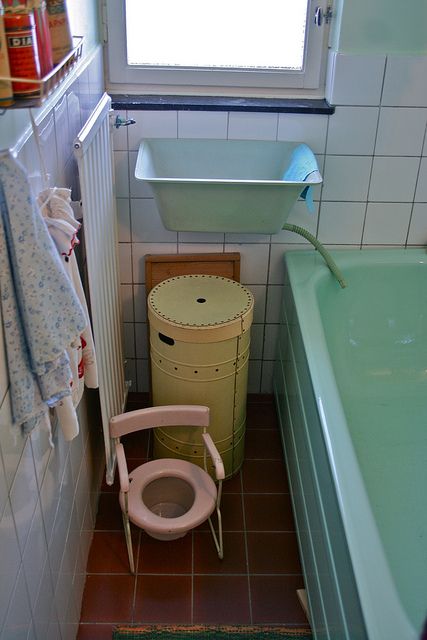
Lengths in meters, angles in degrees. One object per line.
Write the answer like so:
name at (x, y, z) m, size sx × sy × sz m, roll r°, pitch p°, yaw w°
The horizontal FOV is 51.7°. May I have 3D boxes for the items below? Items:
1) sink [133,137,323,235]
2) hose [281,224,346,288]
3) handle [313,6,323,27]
sink at (0.031, -0.464, 1.548) m, size 0.612 × 0.246 × 0.447 m, roll 3°, pitch 35°, yaw -2°
hose at (0.404, -0.266, 1.785) m, size 0.045 × 0.095 × 0.244 m, roll -36°, pitch 88°, yaw -25°
handle at (0.379, -1.100, 1.589) m, size 0.023 × 0.088 × 0.058 m, roll 6°, pitch 29°, yaw 18°
